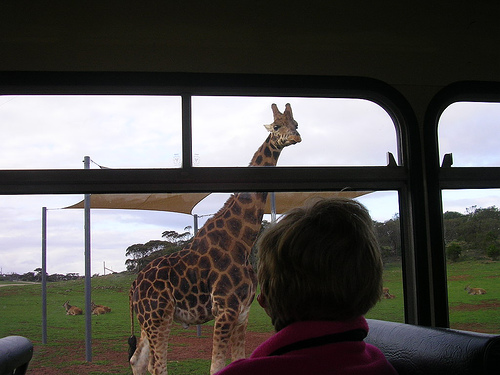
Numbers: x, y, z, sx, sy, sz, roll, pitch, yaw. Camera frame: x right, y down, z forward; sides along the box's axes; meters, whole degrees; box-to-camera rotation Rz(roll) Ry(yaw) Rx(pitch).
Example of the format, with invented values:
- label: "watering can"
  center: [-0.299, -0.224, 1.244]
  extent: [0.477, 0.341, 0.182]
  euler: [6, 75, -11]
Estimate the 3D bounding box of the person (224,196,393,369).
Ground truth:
- label: "person"
  center: [0.135, 0.315, 2.140]
  extent: [0.743, 0.768, 0.490]
  euler: [1, -2, -11]
